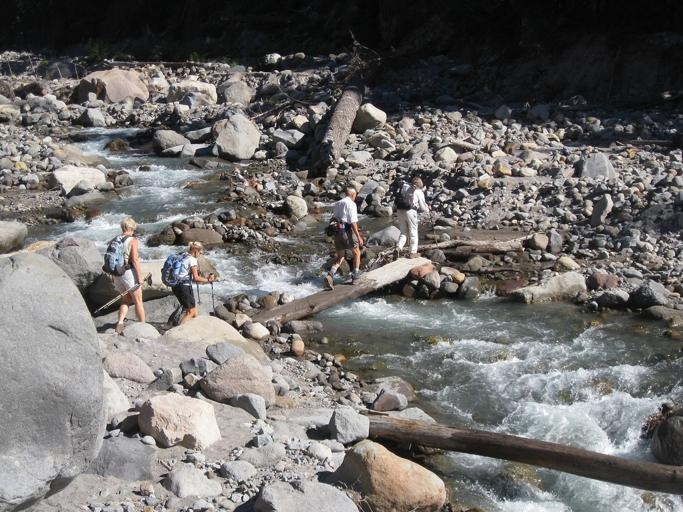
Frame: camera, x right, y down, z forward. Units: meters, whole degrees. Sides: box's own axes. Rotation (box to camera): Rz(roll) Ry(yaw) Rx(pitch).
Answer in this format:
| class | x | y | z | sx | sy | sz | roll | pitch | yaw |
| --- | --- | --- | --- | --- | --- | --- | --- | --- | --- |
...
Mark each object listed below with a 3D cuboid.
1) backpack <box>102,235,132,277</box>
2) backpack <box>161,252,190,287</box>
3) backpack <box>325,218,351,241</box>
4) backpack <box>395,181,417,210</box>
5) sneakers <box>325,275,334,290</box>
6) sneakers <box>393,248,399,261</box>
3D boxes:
| class | x | y | z | sx | sy | sz | roll | pitch | yaw |
| --- | --- | --- | --- | --- | --- | --- | --- | --- | --- |
| backpack | -3.847 | -0.028 | 10.580 | 0.588 | 0.620 | 0.387 | 16 | 18 | 0 |
| backpack | -2.868 | 0.209 | 11.055 | 0.633 | 0.537 | 0.452 | -3 | 5 | -44 |
| backpack | -0.061 | -0.472 | 13.503 | 0.538 | 0.572 | 0.278 | 11 | 21 | 10 |
| backpack | 1.414 | -1.305 | 13.969 | 0.431 | 0.596 | 0.327 | 13 | 13 | 30 |
| sneakers | -0.220 | 0.567 | 12.969 | 0.162 | 0.324 | 0.124 | -28 | 28 | -9 |
| sneakers | 1.223 | -0.032 | 14.179 | 0.145 | 0.203 | 0.147 | 6 | -5 | 21 |
